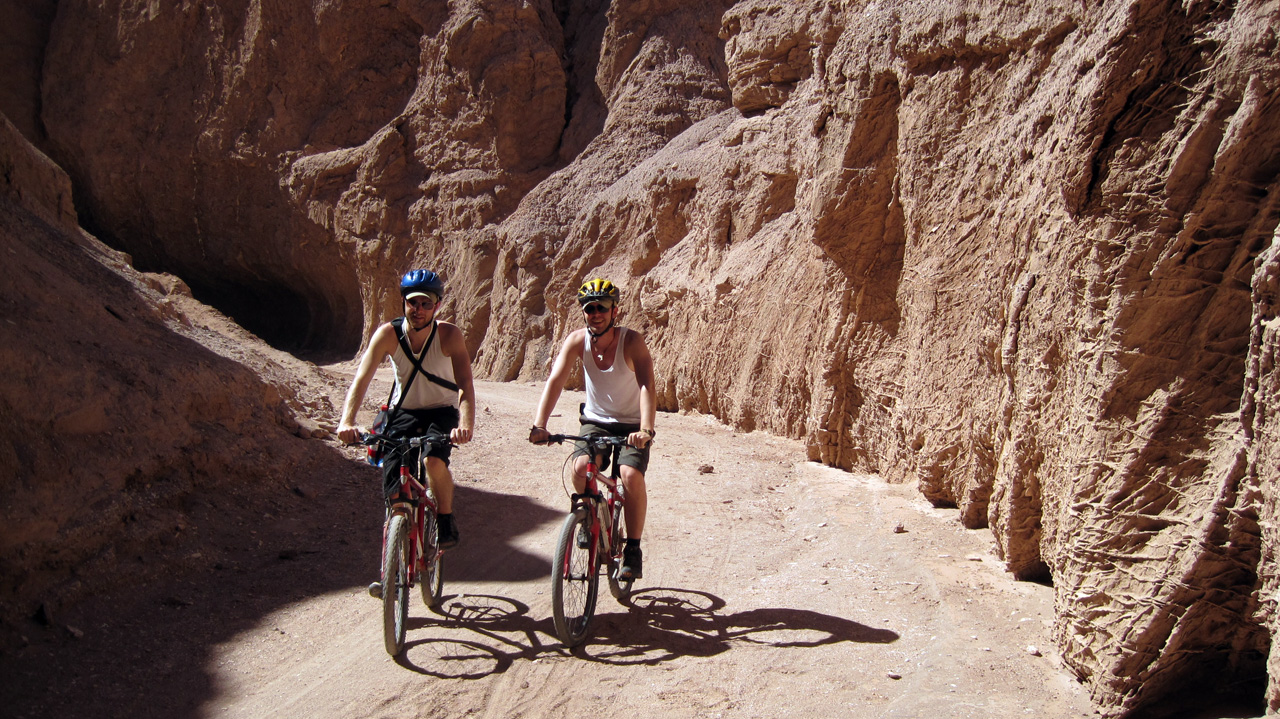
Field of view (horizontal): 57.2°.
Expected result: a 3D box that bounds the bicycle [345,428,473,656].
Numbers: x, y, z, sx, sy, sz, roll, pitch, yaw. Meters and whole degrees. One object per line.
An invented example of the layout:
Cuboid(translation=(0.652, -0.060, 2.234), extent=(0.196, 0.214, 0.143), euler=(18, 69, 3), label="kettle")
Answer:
Cuboid(translation=(-2.675, 2.109, 13.725), extent=(0.686, 1.787, 1.096), euler=(11, 4, 26), label="bicycle")

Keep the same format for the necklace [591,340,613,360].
Cuboid(translation=(-0.444, -0.075, 13.755), extent=(0.276, 0.164, 0.041), euler=(10, 4, 14), label="necklace")

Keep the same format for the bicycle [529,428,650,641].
Cuboid(translation=(-0.577, 2.097, 13.732), extent=(0.442, 1.897, 1.160), euler=(13, 5, 39), label="bicycle")

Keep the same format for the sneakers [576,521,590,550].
Cuboid(translation=(-0.645, 2.016, 13.560), extent=(0.153, 0.242, 0.050), euler=(9, 4, -2), label="sneakers")

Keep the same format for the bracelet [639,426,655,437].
Cuboid(translation=(0.071, 0.820, 13.542), extent=(0.170, 0.084, 0.199), euler=(9, 3, -3), label="bracelet")
